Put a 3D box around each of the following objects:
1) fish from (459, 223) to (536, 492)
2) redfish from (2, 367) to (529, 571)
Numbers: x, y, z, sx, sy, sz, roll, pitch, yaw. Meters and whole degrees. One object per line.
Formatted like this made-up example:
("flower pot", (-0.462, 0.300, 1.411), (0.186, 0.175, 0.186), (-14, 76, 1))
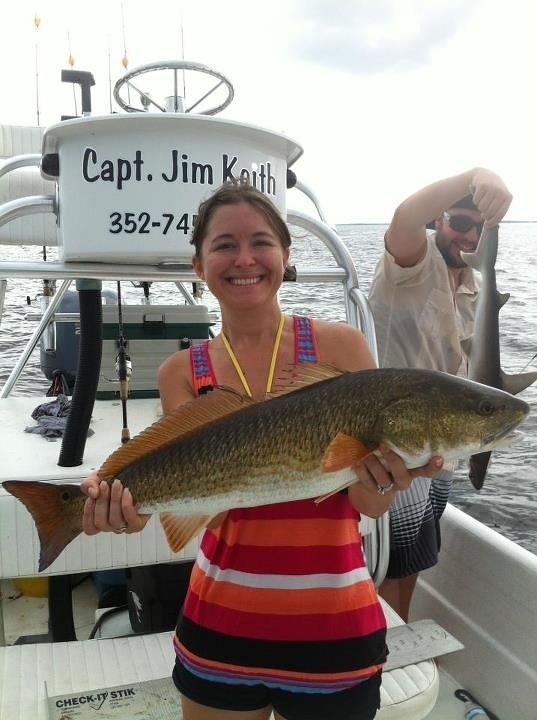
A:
("fish", (0.812, 0.006, 2.479), (0.283, 0.971, 0.363), (-6, -5, 24))
("redfish", (0.061, 0.238, 1.440), (0.998, 0.439, 0.153), (2, 7, 17))
